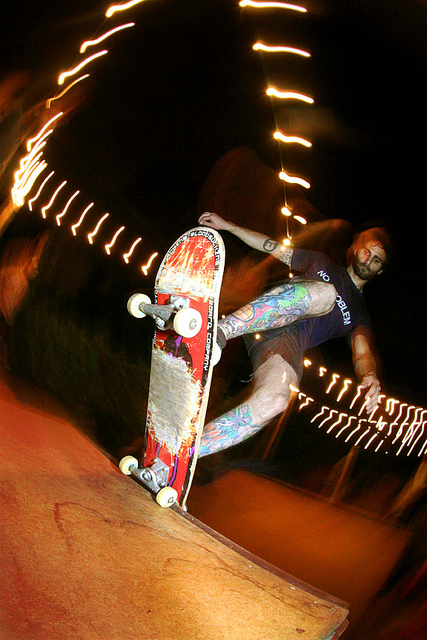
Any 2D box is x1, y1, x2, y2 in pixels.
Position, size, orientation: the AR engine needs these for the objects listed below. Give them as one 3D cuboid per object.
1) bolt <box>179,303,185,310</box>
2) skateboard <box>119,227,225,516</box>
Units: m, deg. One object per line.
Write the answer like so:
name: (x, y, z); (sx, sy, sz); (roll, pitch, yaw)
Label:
bolt: (-0.126, -0.054, 2.468); (0.013, 0.024, 0.006); (16, 11, 11)
skateboard: (-0.136, 0.225, 2.601); (0.210, 1.407, 0.349); (-3, 19, -40)
